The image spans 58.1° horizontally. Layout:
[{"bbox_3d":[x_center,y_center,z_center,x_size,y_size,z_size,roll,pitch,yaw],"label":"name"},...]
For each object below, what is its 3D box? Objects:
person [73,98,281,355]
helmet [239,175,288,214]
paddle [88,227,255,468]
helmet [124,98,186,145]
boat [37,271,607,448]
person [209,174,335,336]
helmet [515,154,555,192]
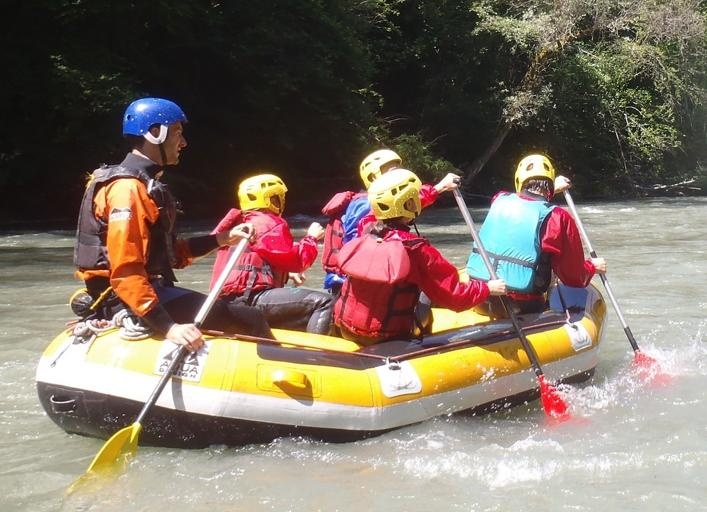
[{"bbox_3d":[-1.156,0.122,4.346,1.361,2.255,1.150,-2,4,-18],"label":"person"},{"bbox_3d":[-0.732,-0.484,5.253,0.385,0.365,0.336,-6,4,-25],"label":"helmet"},{"bbox_3d":[-1.217,0.683,4.133,1.045,1.210,0.389,-6,11,-28],"label":"paddle"},{"bbox_3d":[-1.309,-0.902,4.193,0.368,0.302,0.280,-4,22,-17],"label":"helmet"},{"bbox_3d":[-0.050,0.831,4.485,2.885,0.559,1.583,-5,7,-37],"label":"boat"},{"bbox_3d":[-0.612,0.112,5.281,0.989,1.507,0.915,-3,11,-8],"label":"person"},{"bbox_3d":[1.597,-0.719,5.586,0.272,0.348,0.372,0,-8,7],"label":"helmet"}]
